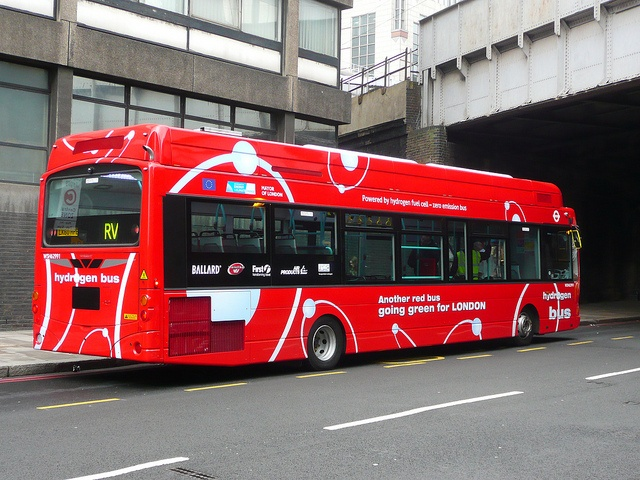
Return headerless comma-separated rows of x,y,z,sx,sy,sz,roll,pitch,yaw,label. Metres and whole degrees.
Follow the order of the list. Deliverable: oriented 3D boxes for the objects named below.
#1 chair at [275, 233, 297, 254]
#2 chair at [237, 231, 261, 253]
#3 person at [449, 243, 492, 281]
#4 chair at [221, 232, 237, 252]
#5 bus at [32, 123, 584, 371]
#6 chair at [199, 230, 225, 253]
-0.624,0.069,12.434,0.371,0.468,0.299,0,5,-15,chair
-1.220,0.067,12.080,0.279,0.327,0.382,5,-8,-29,chair
3.431,0.477,15.480,0.587,1.191,0.299,2,3,-22,person
-1.571,0.057,11.786,0.210,0.515,0.275,0,5,-5,chair
1.495,0.590,16.184,13.398,4.736,3.685,2,-4,-42,bus
-1.854,0.022,11.556,0.247,0.530,0.352,2,9,11,chair
